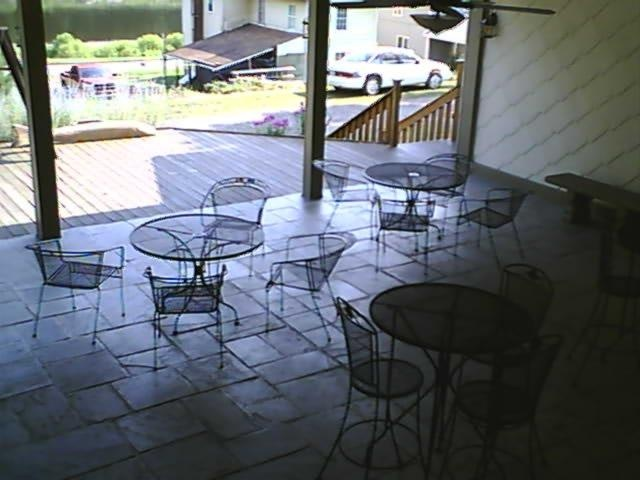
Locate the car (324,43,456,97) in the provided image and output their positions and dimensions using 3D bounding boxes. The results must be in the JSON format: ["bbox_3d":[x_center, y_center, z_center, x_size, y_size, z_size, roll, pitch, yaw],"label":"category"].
[{"bbox_3d":[1.564,-4.537,14.572,3.967,1.020,1.457,-11,33,-18],"label":"car"}]
